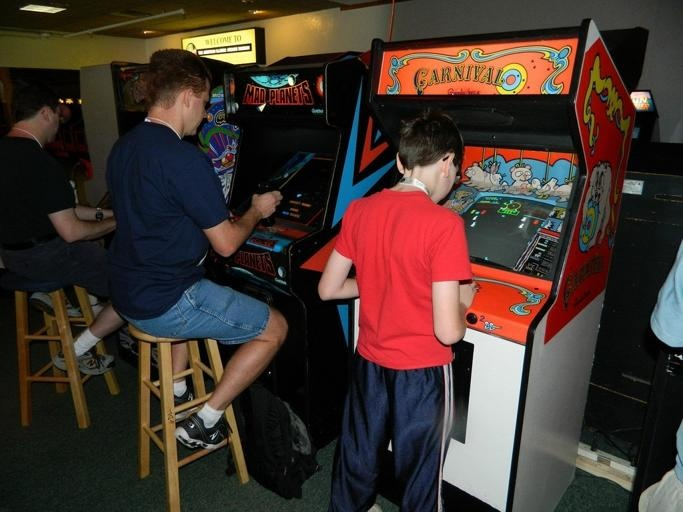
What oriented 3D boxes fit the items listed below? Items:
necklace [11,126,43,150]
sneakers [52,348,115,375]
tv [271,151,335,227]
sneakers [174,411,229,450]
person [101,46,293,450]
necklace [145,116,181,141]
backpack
[{"bbox_3d":[-1.822,-0.709,2.920,0.128,0.159,0.039,0,26,14],"label":"necklace"},{"bbox_3d":[-1.588,0.623,3.121,0.381,0.190,0.153,3,27,-29],"label":"sneakers"},{"bbox_3d":[-0.213,-0.378,2.894,0.268,0.519,0.356,0,13,-44],"label":"tv"},{"bbox_3d":[-0.684,0.896,2.574,0.122,0.163,0.326,7,-19,30],"label":"sneakers"},{"bbox_3d":[-0.703,0.030,2.435,0.821,1.955,0.429,0,15,-8],"label":"person"},{"bbox_3d":[-0.799,-0.582,2.250,0.153,0.092,0.153,-3,17,-19],"label":"necklace"},{"bbox_3d":[-0.321,0.975,2.672,0.189,0.602,0.473,-15,33,-35],"label":"backpack"}]
